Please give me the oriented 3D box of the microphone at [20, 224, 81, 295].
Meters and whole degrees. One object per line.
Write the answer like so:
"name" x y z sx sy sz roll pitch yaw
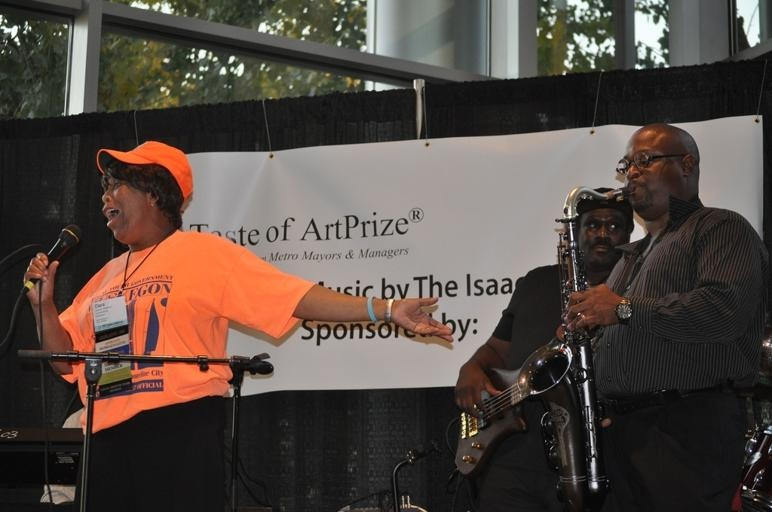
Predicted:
"microphone" -2.049 0.031 7.505 0.152 0.154 0.548 9 43 39

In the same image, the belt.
"belt" 1.598 0.807 7.079 0.502 0.106 0.281 -9 -3 8

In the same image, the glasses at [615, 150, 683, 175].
"glasses" 1.552 -0.560 7.379 0.205 0.057 0.195 -1 -9 -24

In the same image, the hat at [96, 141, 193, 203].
"hat" -1.310 -0.520 6.843 0.451 0.229 0.325 30 -14 -19
